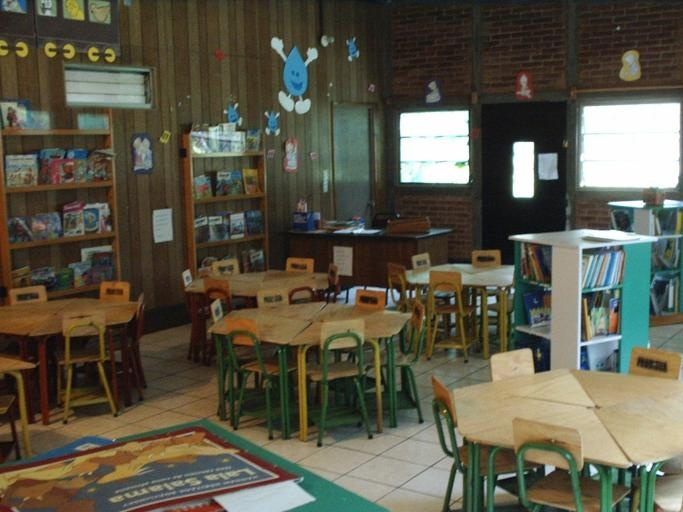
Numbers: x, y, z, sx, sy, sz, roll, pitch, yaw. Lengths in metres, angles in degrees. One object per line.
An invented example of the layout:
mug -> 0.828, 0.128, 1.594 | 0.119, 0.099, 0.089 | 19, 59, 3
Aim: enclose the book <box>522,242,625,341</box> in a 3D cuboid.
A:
book -> 2.055, 0.272, 5.488 | 0.994, 1.055, 0.754 | 0, 10, 9
